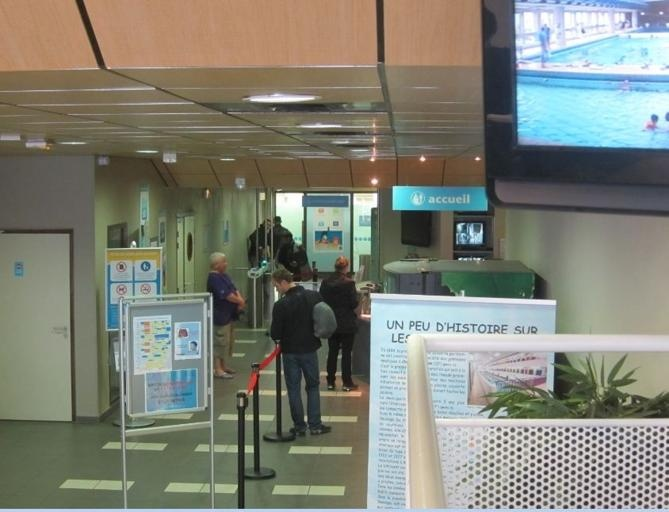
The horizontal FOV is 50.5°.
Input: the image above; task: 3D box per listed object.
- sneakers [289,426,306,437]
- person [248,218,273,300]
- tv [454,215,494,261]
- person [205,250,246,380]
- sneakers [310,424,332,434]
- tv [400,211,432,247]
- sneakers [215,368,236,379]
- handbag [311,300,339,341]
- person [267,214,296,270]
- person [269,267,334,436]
[{"bbox_3d":[-0.412,1.952,7.963,0.166,0.110,0.086,6,4,38],"label":"sneakers"},{"bbox_3d":[-1.435,0.001,13.240,0.352,1.430,0.531,14,16,36],"label":"person"},{"bbox_3d":[2.997,-0.399,15.493,0.981,0.895,0.505,1,2,0],"label":"tv"},{"bbox_3d":[-1.616,0.873,10.508,0.508,1.877,1.112,-2,4,-10],"label":"person"},{"bbox_3d":[-0.157,1.966,8.096,0.271,0.110,0.093,-2,0,-14],"label":"sneakers"},{"bbox_3d":[1.719,-0.685,15.029,0.634,0.822,0.460,2,30,7],"label":"tv"},{"bbox_3d":[-1.654,1.754,10.628,0.230,0.066,0.128,1,0,26],"label":"sneakers"},{"bbox_3d":[-0.091,0.671,7.709,0.232,0.417,0.298,21,41,19],"label":"handbag"},{"bbox_3d":[-0.959,-0.247,13.039,0.458,0.967,0.169,2,6,38],"label":"person"},{"bbox_3d":[-0.355,1.070,7.832,0.691,1.888,0.589,-1,4,-5],"label":"person"}]
